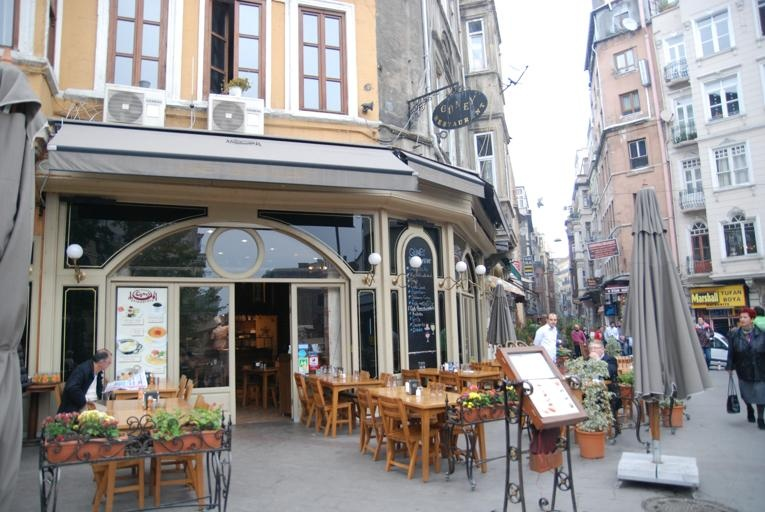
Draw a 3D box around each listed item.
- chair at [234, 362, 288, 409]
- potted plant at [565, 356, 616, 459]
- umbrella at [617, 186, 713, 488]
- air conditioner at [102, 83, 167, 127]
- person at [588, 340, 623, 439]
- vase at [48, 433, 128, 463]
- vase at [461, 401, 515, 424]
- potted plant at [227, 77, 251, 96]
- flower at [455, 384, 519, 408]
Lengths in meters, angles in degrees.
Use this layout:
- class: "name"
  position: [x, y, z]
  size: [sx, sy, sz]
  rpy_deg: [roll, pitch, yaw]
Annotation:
- class: "chair"
  position: [-3.546, 3.713, 18.263]
  size: [1.117, 1.271, 4.134]
  rpy_deg: [0, -10, -16]
- class: "potted plant"
  position: [4.173, 3.029, 12.715]
  size: [0.823, 1.947, 3.604]
  rpy_deg: [-5, -9, 19]
- class: "umbrella"
  position: [5.070, 1.406, 11.713]
  size: [1.521, 5.452, 1.157]
  rpy_deg: [-7, -10, 28]
- class: "air conditioner"
  position: [-5.921, -3.221, 15.158]
  size: [1.653, 1.218, 0.941]
  rpy_deg: [2, -7, -20]
- class: "person"
  position: [5.207, 2.847, 14.452]
  size: [0.725, 2.155, 0.846]
  rpy_deg: [-6, 5, 31]
- class: "vase"
  position: [-4.665, 3.017, 9.881]
  size: [0.731, 0.248, 0.521]
  rpy_deg: [1, -7, -26]
- class: "vase"
  position: [1.836, 2.876, 11.626]
  size: [0.721, 0.262, 0.552]
  rpy_deg: [1, -9, -12]
- class: "potted plant"
  position: [-3.586, -4.240, 15.855]
  size: [0.501, 0.568, 0.574]
  rpy_deg: [-3, 0, 19]
- class: "flower"
  position: [1.912, 2.607, 11.680]
  size: [0.931, 0.303, 0.646]
  rpy_deg: [-1, -10, -13]
